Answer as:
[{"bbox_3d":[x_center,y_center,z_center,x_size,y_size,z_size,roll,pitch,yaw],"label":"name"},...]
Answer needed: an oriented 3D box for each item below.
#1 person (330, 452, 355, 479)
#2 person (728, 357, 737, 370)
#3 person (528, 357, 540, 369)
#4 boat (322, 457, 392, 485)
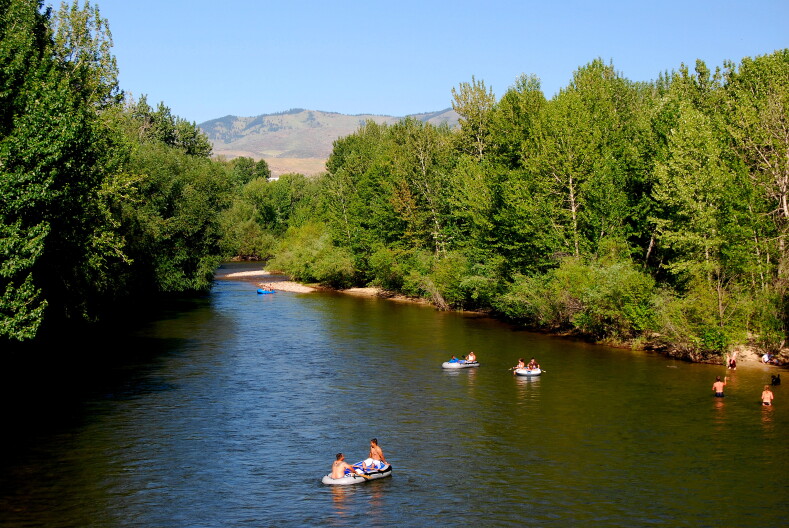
[{"bbox_3d":[-3.772,14.845,60.689,1.279,1.652,0.931,8,14,20],"label":"person"},{"bbox_3d":[34.582,9.897,83.278,0.733,1.193,0.578,8,-22,3],"label":"person"},{"bbox_3d":[14.442,10.017,83.169,1.057,1.261,1.095,-2,-3,0],"label":"person"},{"bbox_3d":[-2.445,15.236,59.787,3.244,0.710,2.268,-4,-1,-38],"label":"boat"}]
